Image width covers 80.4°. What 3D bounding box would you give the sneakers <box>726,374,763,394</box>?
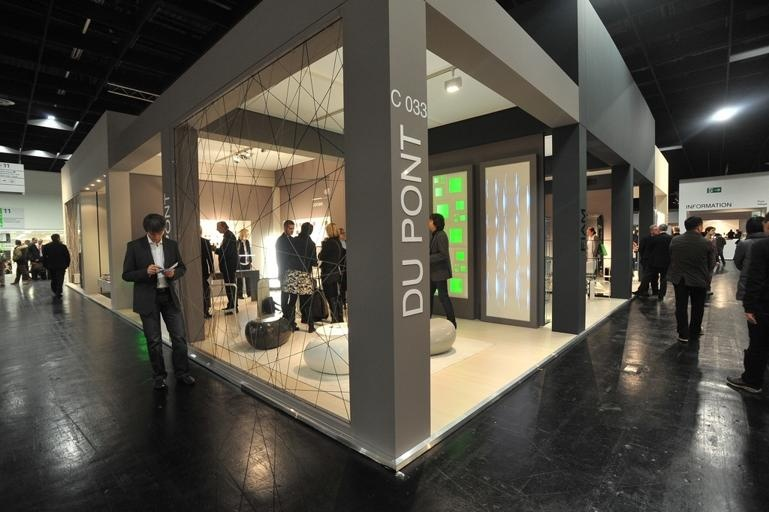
[{"bbox_3d":[4.229,1.485,5.358,0.129,0.133,0.308,-1,6,-38],"label":"sneakers"}]

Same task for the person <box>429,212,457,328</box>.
[{"bbox_3d":[0.921,0.191,7.260,0.363,1.766,1.459,-1,2,8],"label":"person"}]

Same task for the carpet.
[{"bbox_3d":[0.047,1.237,6.260,3.752,0.818,2.339,-2,3,-4],"label":"carpet"}]

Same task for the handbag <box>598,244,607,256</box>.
[{"bbox_3d":[4.895,-0.124,10.240,0.196,0.434,0.053,-8,2,-25],"label":"handbag"}]

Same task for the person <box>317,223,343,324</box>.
[{"bbox_3d":[-0.801,0.308,7.057,0.369,1.612,1.384,-2,2,-6],"label":"person"}]

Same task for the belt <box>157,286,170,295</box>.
[{"bbox_3d":[-2.702,0.425,5.599,0.087,0.071,0.089,2,0,-36],"label":"belt"}]

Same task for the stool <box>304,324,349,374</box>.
[{"bbox_3d":[-0.695,1.215,5.943,0.618,0.514,0.683,-4,-2,21],"label":"stool"}]

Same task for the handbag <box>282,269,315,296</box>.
[{"bbox_3d":[-1.107,0.350,5.941,0.266,0.355,0.476,2,-2,-42],"label":"handbag"}]

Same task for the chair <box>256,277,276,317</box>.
[{"bbox_3d":[-1.835,0.669,7.115,0.318,0.582,0.342,-5,0,-16],"label":"chair"}]

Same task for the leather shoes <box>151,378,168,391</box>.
[{"bbox_3d":[-2.731,1.568,5.568,0.092,0.204,0.198,-2,-8,5],"label":"leather shoes"}]

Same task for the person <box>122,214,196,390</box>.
[{"bbox_3d":[-2.779,0.557,5.611,0.744,2.128,0.396,-2,2,-32],"label":"person"}]

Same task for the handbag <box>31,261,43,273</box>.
[{"bbox_3d":[-11.712,0.336,15.353,0.391,0.404,0.147,2,10,33],"label":"handbag"}]

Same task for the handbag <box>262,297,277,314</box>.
[{"bbox_3d":[-1.810,0.792,7.226,0.239,0.274,0.218,5,9,37],"label":"handbag"}]

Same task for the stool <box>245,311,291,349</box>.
[{"bbox_3d":[-1.646,1.090,6.632,0.464,0.272,0.472,-1,0,0],"label":"stool"}]

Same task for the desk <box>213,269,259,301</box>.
[{"bbox_3d":[-2.755,0.546,8.551,0.594,0.548,0.315,-3,-5,35],"label":"desk"}]

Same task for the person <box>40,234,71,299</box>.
[{"bbox_3d":[-8.040,0.233,11.195,0.507,1.259,1.029,-3,2,-37],"label":"person"}]

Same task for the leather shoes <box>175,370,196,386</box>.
[{"bbox_3d":[-2.474,1.521,5.696,0.273,0.214,0.127,1,-1,2],"label":"leather shoes"}]
